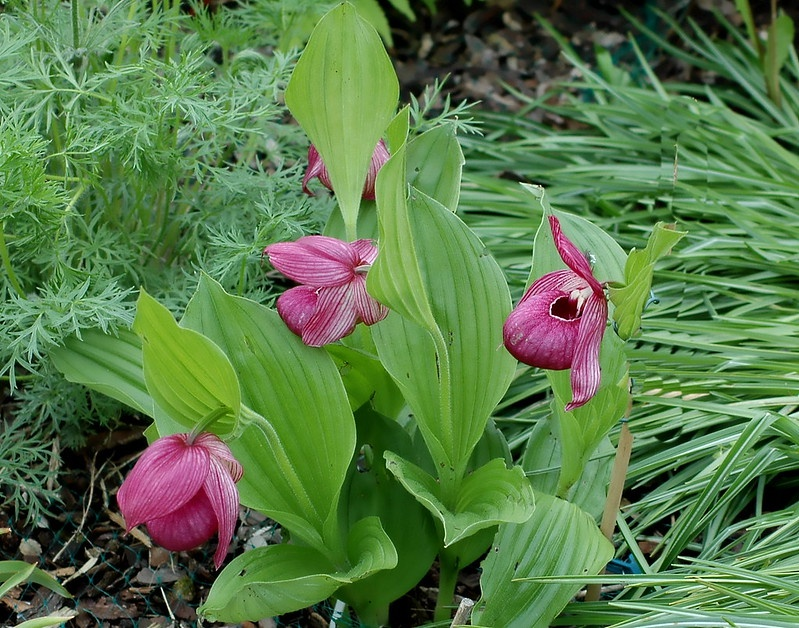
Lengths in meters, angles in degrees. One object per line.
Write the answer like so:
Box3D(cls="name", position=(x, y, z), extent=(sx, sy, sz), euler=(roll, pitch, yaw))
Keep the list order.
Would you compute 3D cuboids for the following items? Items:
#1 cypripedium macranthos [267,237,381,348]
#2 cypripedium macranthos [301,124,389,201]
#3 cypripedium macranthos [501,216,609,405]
Box3D(cls="cypripedium macranthos", position=(-0.147, -0.022, 1.582), extent=(0.200, 0.100, 0.205), euler=(34, 61, 14))
Box3D(cls="cypripedium macranthos", position=(-0.099, -0.328, 1.730), extent=(0.174, 0.105, 0.210), euler=(-15, 7, -7))
Box3D(cls="cypripedium macranthos", position=(0.302, -0.012, 1.389), extent=(0.123, 0.183, 0.329), euler=(20, 65, -30))
